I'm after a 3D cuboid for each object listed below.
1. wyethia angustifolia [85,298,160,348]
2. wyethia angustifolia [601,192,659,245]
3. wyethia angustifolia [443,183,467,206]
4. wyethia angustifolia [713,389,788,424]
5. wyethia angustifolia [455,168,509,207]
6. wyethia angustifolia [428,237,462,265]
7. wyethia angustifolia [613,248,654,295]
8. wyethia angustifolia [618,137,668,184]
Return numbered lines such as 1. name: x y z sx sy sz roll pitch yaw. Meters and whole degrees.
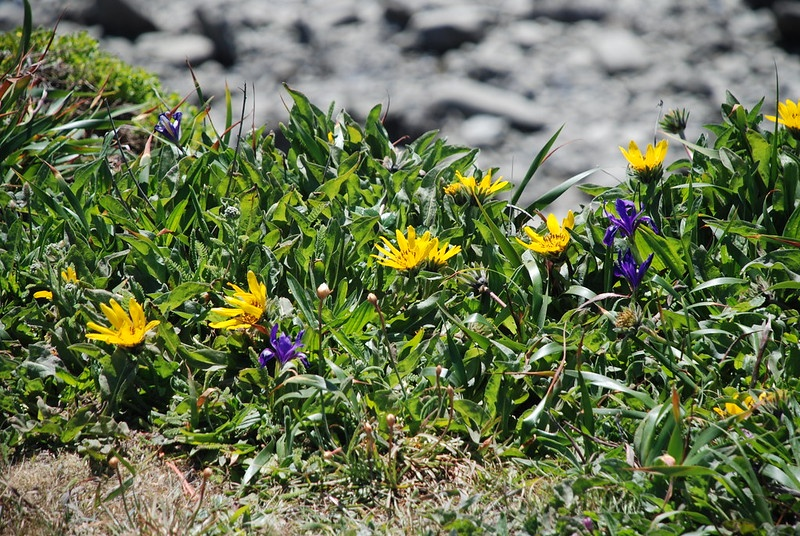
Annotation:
1. wyethia angustifolia: -1.038 0.223 3.670 0.220 0.204 0.099 -54 -8 -9
2. wyethia angustifolia: 0.884 -0.190 3.799 0.180 0.079 0.200 0 52 53
3. wyethia angustifolia: 0.238 -0.319 4.162 0.078 0.057 0.090 -5 21 -1
4. wyethia angustifolia: 1.261 0.490 3.545 0.142 0.069 0.146 -26 -5 37
5. wyethia angustifolia: 0.346 -0.346 4.182 0.161 0.104 0.171 9 5 31
6. wyethia angustifolia: 0.174 -0.060 3.834 0.094 0.068 0.102 11 12 29
7. wyethia angustifolia: 0.865 -0.012 3.670 0.154 0.147 0.084 -21 31 40
8. wyethia angustifolia: 1.052 -0.466 4.121 0.206 0.244 0.225 -6 11 -5
